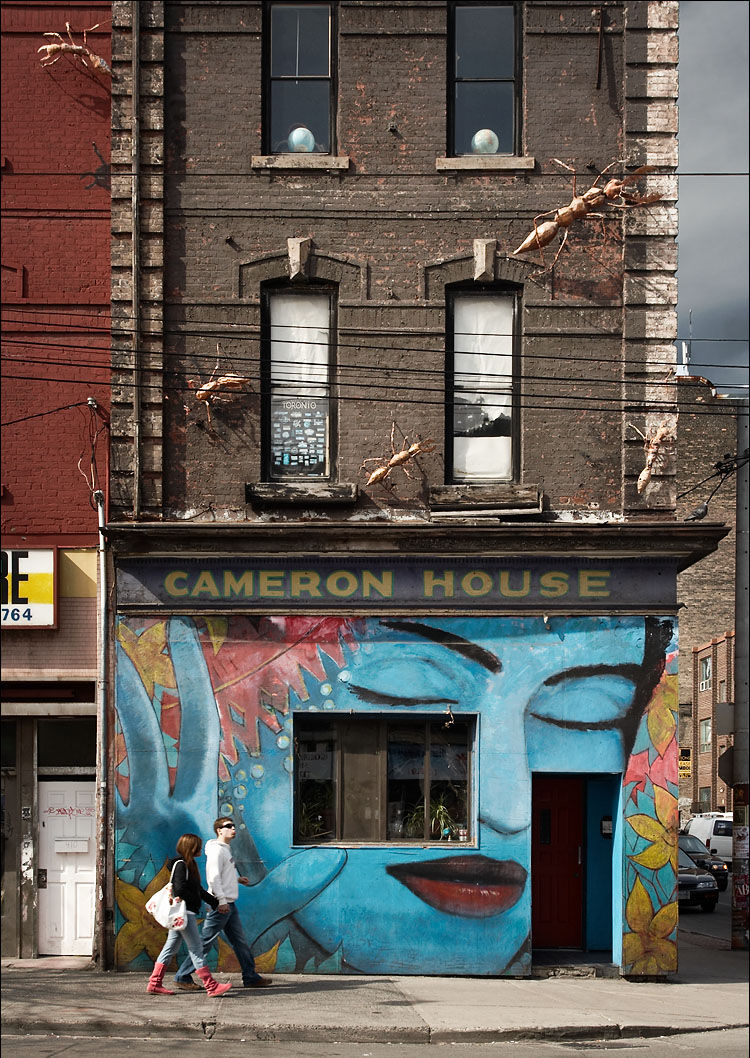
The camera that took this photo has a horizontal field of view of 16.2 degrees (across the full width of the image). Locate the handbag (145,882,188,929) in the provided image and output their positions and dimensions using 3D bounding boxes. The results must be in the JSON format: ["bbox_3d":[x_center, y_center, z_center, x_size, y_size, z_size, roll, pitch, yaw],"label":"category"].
[{"bbox_3d":[-2.019,3.691,25.561,0.482,0.464,0.188,-10,-12,44],"label":"handbag"}]

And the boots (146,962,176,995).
[{"bbox_3d":[-2.112,4.434,25.781,0.342,0.420,0.190,1,-1,-38],"label":"boots"}]

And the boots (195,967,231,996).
[{"bbox_3d":[-1.552,4.453,25.707,0.250,0.294,0.468,-5,-10,23],"label":"boots"}]
